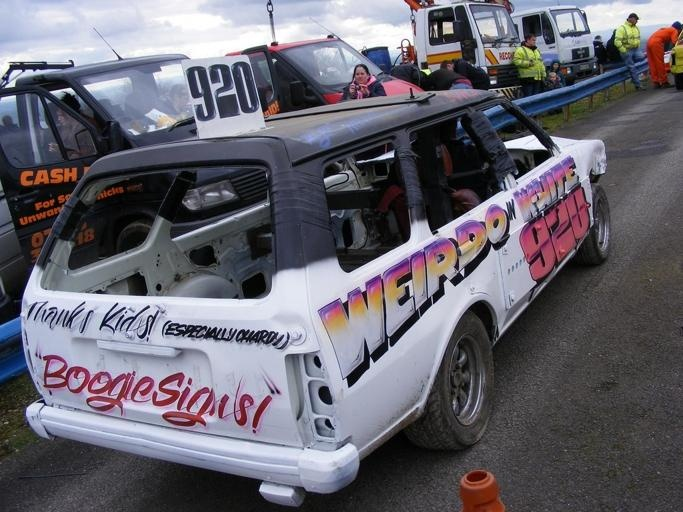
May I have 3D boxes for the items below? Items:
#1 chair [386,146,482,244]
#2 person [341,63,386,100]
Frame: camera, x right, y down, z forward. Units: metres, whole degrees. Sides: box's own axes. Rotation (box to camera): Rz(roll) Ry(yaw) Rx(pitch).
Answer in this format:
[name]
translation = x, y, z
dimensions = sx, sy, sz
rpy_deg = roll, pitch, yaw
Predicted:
[chair]
translation = 0.705, -0.448, 3.291
dimensions = 0.455, 0.693, 0.591
rpy_deg = 8, 55, 40
[person]
translation = 0.430, -3.326, 9.006
dimensions = 0.648, 0.906, 0.860
rpy_deg = -3, 10, 21
